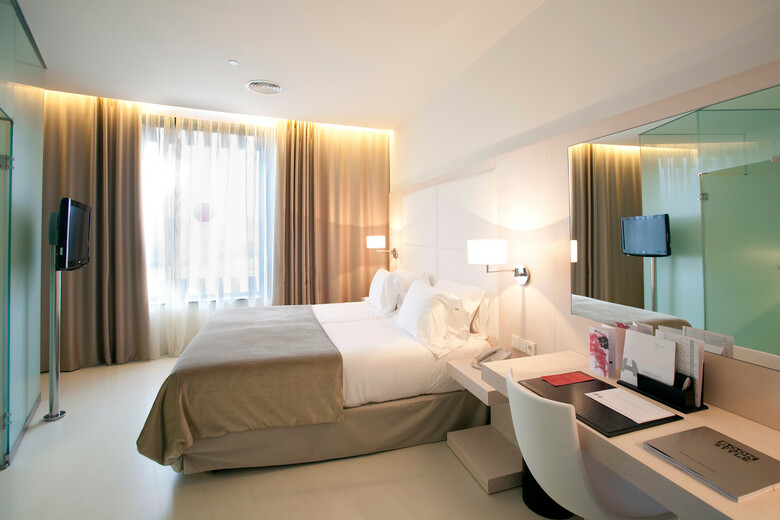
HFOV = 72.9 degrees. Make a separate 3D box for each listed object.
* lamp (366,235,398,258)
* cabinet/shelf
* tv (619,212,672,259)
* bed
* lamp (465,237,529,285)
[{"bbox_3d":[-0.101,-0.181,6.578,0.417,0.318,0.225,-2,-1,-34],"label":"lamp"},{"bbox_3d":[0.701,1.241,3.898,0.499,0.924,0.922,0,3,-15],"label":"cabinet/shelf"},{"bbox_3d":[1.652,-0.155,3.393,0.039,0.297,0.295,-4,3,-39],"label":"tv"},{"bbox_3d":[-0.323,0.813,4.163,1.601,0.461,1.654,-3,14,-7],"label":"bed"},{"bbox_3d":[0.885,0.027,4.414,0.532,0.397,0.311,0,5,-18],"label":"lamp"}]
